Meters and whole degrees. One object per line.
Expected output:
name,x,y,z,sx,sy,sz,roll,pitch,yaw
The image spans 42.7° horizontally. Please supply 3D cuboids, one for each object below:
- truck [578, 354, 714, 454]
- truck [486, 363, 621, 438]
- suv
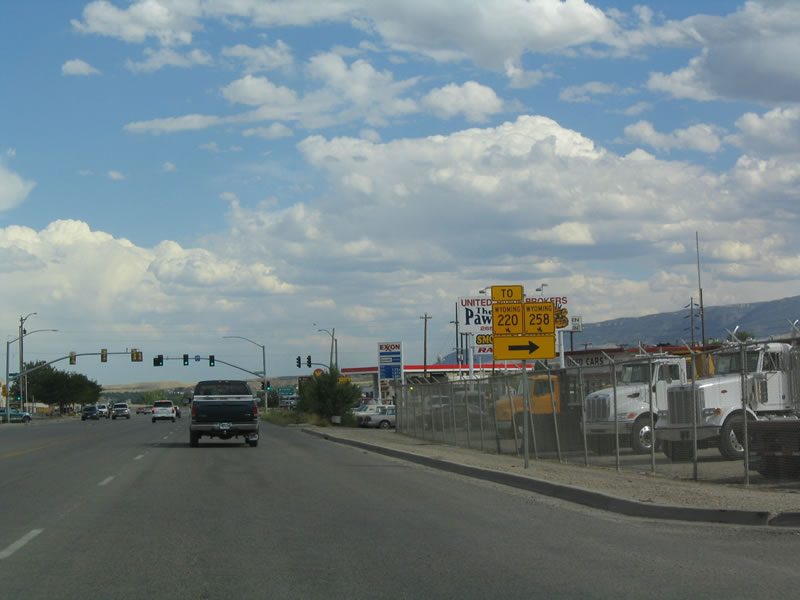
truck,7.869,2.661,28.288,4.839,2.547,2.499,-6,1,-8
truck,4.566,2.891,29.591,3.844,1.737,1.842,2,-6,-27
suv,-5.831,3.736,33.877,2.132,2.200,1.454,1,-8,-11
